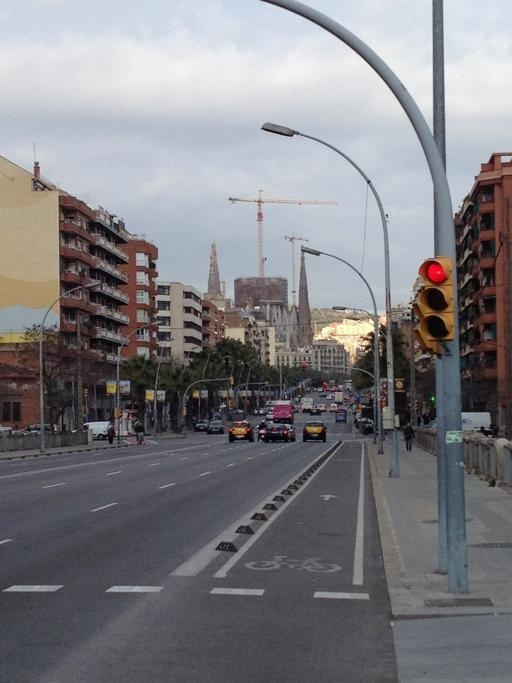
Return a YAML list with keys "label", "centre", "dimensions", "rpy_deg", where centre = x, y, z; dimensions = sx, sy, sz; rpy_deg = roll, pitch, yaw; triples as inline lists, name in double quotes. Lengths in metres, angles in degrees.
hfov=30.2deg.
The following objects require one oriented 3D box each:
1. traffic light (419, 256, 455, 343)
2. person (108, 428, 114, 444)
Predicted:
- label: "traffic light"
  centre: [1.740, -0.401, 9.048]
  dimensions: [0.270, 0.868, 0.438]
  rpy_deg: [-4, -7, 27]
- label: "person"
  centre: [-10.837, 6.995, 70.611]
  dimensions: [0.330, 1.165, 1.838]
  rpy_deg: [-1, -4, -12]
